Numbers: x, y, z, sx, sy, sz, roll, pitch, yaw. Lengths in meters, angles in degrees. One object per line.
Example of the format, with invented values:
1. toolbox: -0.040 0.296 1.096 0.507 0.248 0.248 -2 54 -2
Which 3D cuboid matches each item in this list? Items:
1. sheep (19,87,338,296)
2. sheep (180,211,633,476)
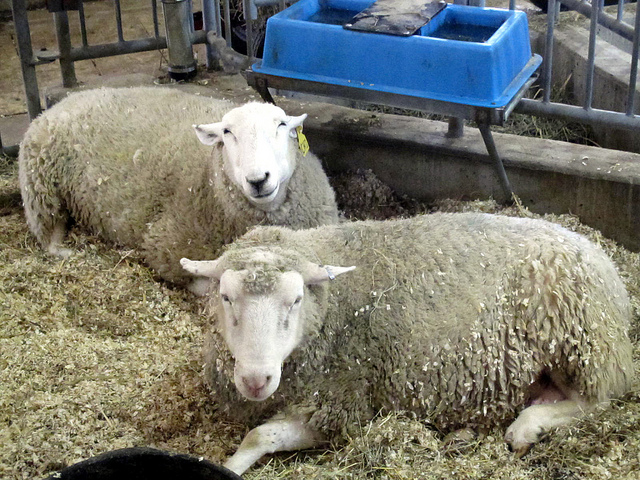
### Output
1. sheep: -1.184 -0.346 5.292 2.289 1.116 1.404 25 35 29
2. sheep: 0.451 0.594 4.095 2.414 1.266 1.323 -1 25 6
